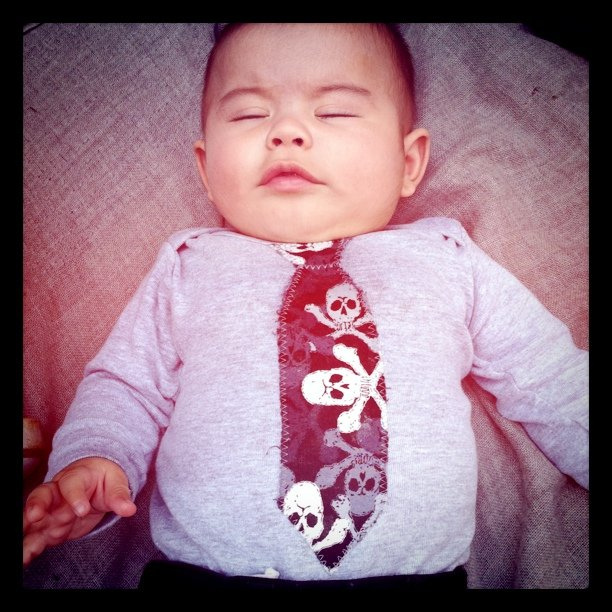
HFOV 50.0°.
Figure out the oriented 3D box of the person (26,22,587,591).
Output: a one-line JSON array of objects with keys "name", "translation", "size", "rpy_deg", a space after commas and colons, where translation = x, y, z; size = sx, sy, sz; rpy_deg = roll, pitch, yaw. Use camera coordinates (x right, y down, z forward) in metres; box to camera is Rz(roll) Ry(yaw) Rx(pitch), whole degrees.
[{"name": "person", "translation": [-0.002, 0.012, 1.151], "size": [1.139, 0.388, 0.960], "rpy_deg": [-1, 63, 3]}]
